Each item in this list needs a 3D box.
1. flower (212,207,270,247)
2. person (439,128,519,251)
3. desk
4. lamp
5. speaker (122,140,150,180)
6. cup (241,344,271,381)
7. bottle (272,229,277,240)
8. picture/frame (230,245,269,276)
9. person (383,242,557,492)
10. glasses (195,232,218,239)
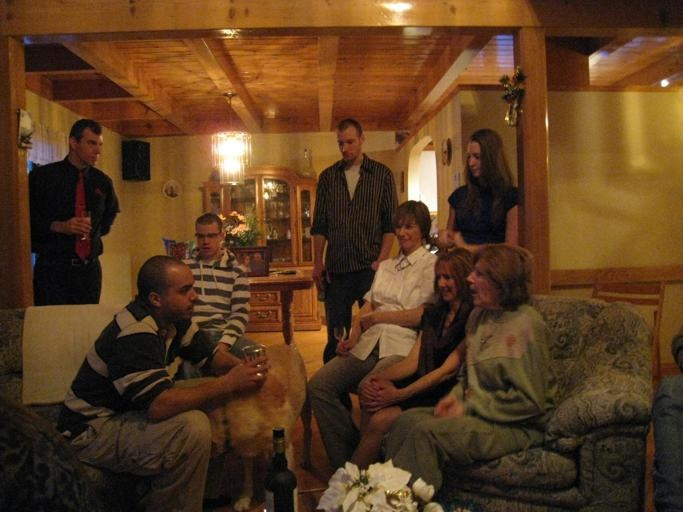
[{"bbox_3d":[-1.136,-0.274,7.222,0.602,0.446,0.574,10,-2,-11],"label":"flower"},{"bbox_3d":[0.877,-0.414,4.106,0.487,0.746,0.331,-2,-4,21],"label":"person"},{"bbox_3d":[-0.620,0.493,6.185,0.653,0.690,0.705,-2,3,0],"label":"desk"},{"bbox_3d":[-1.257,-1.330,7.308,0.433,1.017,1.672,0,-4,-9],"label":"lamp"},{"bbox_3d":[-2.610,-1.215,8.102,0.346,0.487,0.205,2,-5,-27],"label":"speaker"},{"bbox_3d":[-0.405,0.500,3.060,0.111,0.139,0.137,-4,-18,-9],"label":"cup"},{"bbox_3d":[-0.846,-0.278,8.200,0.109,0.143,0.098,0,-5,-5],"label":"bottle"},{"bbox_3d":[-0.825,0.047,5.804,0.275,0.243,0.110,-1,-1,-2],"label":"picture/frame"},{"bbox_3d":[0.589,0.628,3.033,0.893,1.310,0.619,-1,9,-25],"label":"person"},{"bbox_3d":[-0.832,-0.123,3.956,0.141,0.045,0.052,0,-4,-4],"label":"glasses"}]
